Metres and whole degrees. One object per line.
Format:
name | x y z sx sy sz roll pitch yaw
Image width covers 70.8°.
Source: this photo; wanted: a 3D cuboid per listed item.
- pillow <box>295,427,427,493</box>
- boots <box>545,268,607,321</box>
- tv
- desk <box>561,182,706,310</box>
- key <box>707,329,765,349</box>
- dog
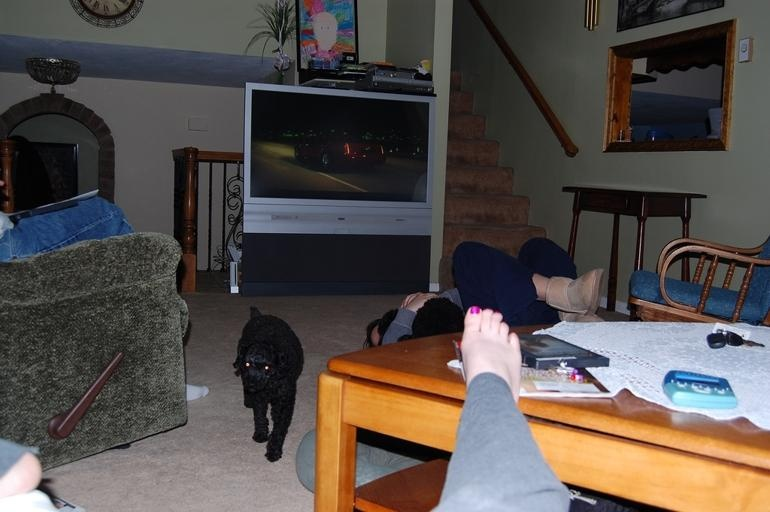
pillow | -0.088 0.678 1.797 0.420 0.100 0.247 2 8 22
boots | 0.732 0.156 2.095 0.224 0.319 0.119 5 51 8
tv | -0.433 -0.860 4.694 1.436 0.978 0.049 1 8 -13
desk | 2.095 -0.161 4.606 1.062 1.173 0.765 2 4 -30
key | 0.943 0.230 1.479 0.173 0.036 0.060 3 13 -12
dog | -0.470 0.494 2.259 0.224 0.415 0.642 -1 16 -7
